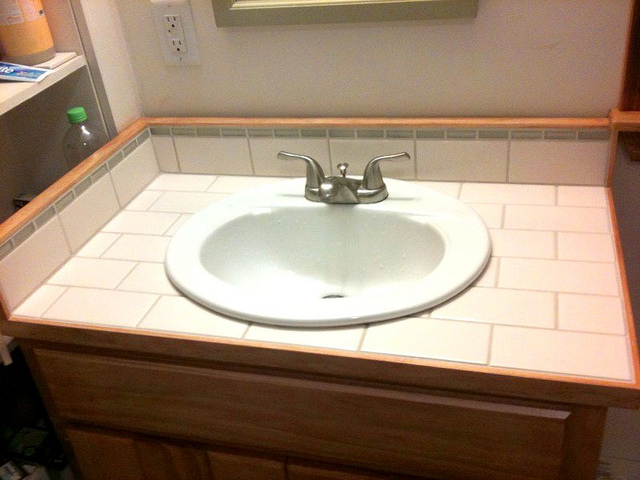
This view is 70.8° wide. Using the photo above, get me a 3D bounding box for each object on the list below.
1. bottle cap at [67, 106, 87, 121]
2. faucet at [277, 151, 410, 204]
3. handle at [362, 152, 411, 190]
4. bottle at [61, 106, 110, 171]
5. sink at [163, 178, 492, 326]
[{"bbox_3d":[-0.633,-0.330,1.169,0.051,0.028,0.050,-15,36,-21],"label":"bottle cap"},{"bbox_3d":[0.057,-0.165,1.169,0.344,0.122,0.125,2,15,10],"label":"faucet"},{"bbox_3d":[0.170,-0.167,1.111,0.157,0.096,0.061,4,24,46],"label":"handle"},{"bbox_3d":[-0.657,-0.271,1.261,0.121,0.115,0.091,-4,27,2],"label":"bottle"},{"bbox_3d":[0.008,0.061,1.058,0.712,0.217,0.484,6,28,20],"label":"sink"}]
